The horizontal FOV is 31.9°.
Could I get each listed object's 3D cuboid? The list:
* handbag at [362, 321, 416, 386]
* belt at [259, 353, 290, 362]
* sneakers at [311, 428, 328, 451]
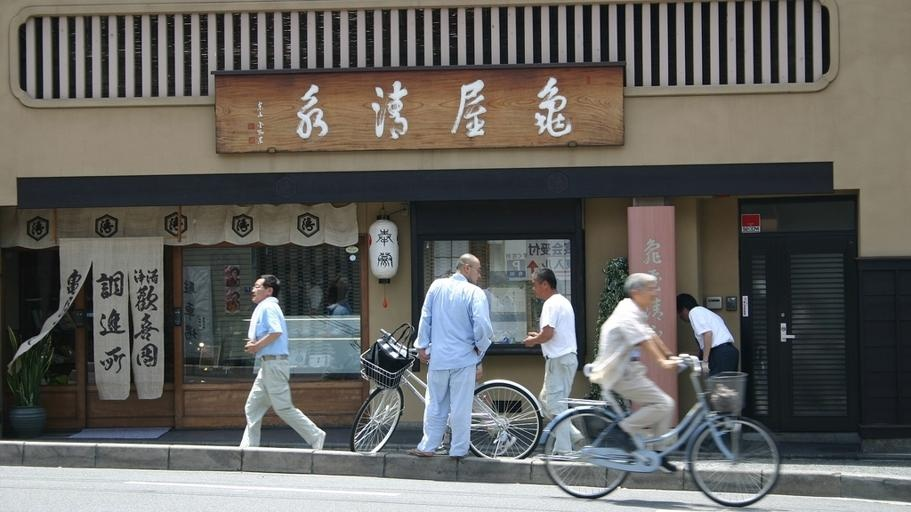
[{"bbox_3d":[-1.040,1.588,27.037,0.787,0.976,0.958,26,27,26],"label":"handbag"},{"bbox_3d":[-3.120,1.666,27.103,0.438,0.104,0.084,0,-1,-5],"label":"belt"},{"bbox_3d":[-2.346,3.096,27.158,0.175,0.399,0.152,6,19,-3],"label":"sneakers"}]
